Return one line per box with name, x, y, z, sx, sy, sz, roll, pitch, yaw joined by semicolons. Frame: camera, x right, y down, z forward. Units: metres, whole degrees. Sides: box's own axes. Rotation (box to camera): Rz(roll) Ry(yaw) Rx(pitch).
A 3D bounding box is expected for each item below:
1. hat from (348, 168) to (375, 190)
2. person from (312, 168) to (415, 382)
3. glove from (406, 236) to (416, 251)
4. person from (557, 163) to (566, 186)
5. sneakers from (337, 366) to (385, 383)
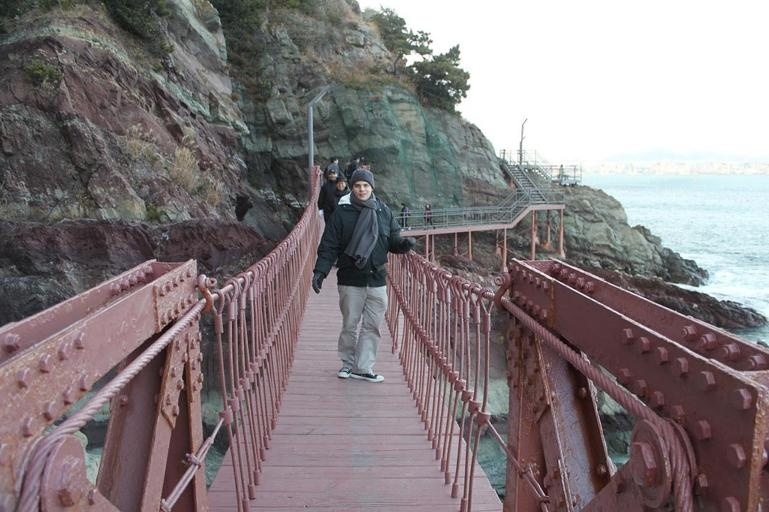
hat;-0.239;-0.884;6.033;0.226;0.219;0.263;0;-6;-1
person;-0.259;0.248;5.907;1.021;2.320;0.541;0;8;-15
glove;0.304;-0.142;6.013;0.112;0.160;0.164;4;43;5
person;12.764;-5.718;39.028;0.526;1.365;0.580;3;8;3
sneakers;-0.261;1.305;6.185;0.522;0.226;0.193;1;4;13
